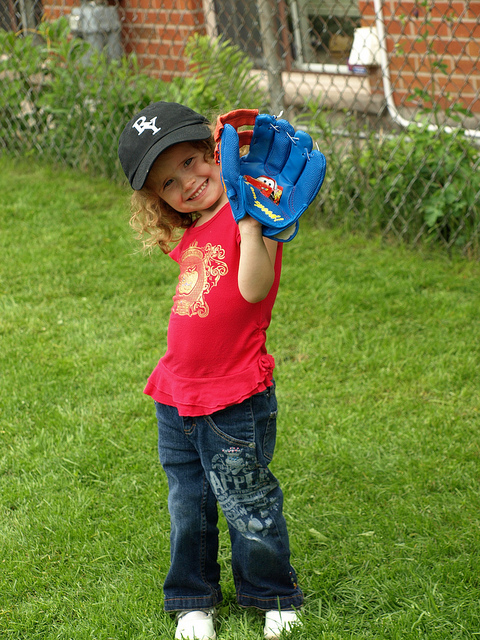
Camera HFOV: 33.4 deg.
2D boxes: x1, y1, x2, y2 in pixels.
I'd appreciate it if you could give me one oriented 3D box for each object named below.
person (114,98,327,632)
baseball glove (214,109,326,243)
[{"bbox_3d":[-0.080,0.173,2.270,0.351,1.499,0.739,-8,25,-35],"label":"person"},{"bbox_3d":[0.068,-0.366,2.032,0.283,0.295,0.314,6,21,-2],"label":"baseball glove"}]
